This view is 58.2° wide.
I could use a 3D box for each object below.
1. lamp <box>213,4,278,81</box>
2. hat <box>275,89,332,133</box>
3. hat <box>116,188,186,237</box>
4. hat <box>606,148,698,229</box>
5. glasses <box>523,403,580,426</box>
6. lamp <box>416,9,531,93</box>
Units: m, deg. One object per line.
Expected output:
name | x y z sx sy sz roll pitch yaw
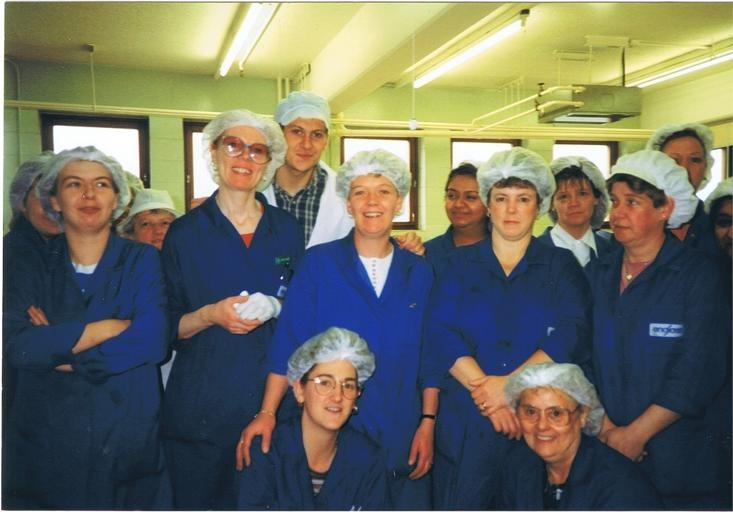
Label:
lamp | -0.617 -1.097 3.350 0.314 0.365 0.083 -1 11 -8
hat | -0.318 -0.739 3.317 0.202 0.201 0.094 4 -29 1
hat | -1.101 -0.190 3.286 0.280 0.126 0.261 2 -14 -18
hat | 1.505 -0.369 3.372 0.408 0.405 0.149 2 13 15
glasses | 0.884 0.777 3.200 0.272 0.103 0.044 2 11 8
lamp | 0.596 -1.126 3.608 0.950 0.103 0.106 -30 52 -26
